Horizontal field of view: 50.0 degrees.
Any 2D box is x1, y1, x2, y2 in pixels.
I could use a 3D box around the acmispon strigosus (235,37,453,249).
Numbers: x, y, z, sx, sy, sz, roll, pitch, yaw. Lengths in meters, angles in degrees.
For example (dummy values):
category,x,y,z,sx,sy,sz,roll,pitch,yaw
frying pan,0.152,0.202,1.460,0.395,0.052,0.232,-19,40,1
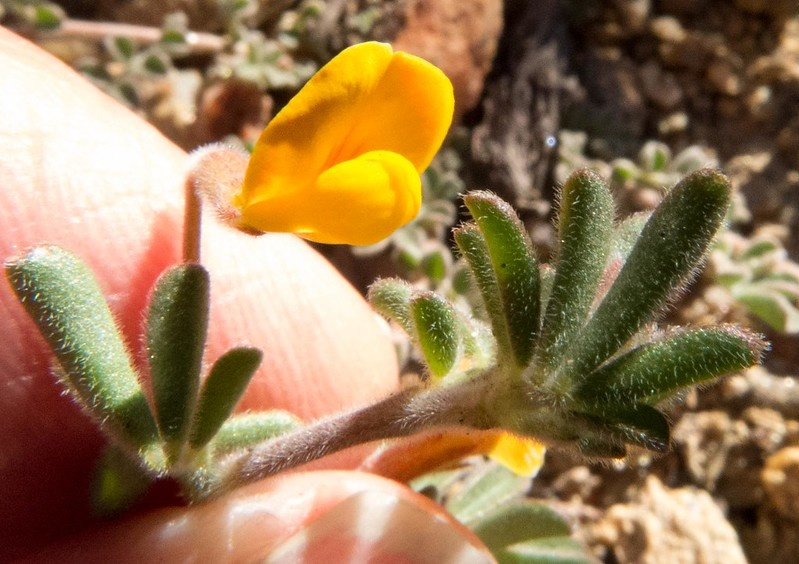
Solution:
category,x,y,z,sx,sy,sz,roll,pitch,yaw
acmispon strigosus,-0.191,-0.300,2.205,0.677,0.508,0.224,-15,74,7
